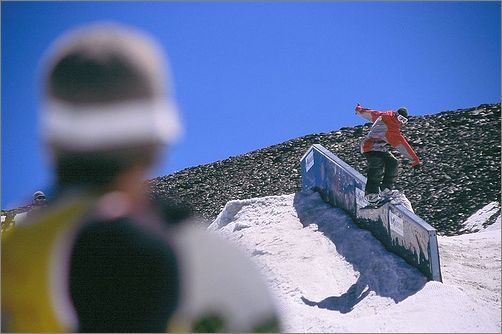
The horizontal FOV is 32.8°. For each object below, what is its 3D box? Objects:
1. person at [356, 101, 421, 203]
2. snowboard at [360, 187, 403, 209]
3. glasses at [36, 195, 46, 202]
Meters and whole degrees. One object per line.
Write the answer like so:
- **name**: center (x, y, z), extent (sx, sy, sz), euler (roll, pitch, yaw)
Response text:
- **person**: center (2.364, -0.215, 14.869), extent (1.059, 1.720, 0.765), euler (-3, 12, 22)
- **snowboard**: center (2.250, 0.554, 14.904), extent (0.637, 0.257, 0.213), euler (-25, -10, 26)
- **glasses**: center (-2.124, 0.323, 8.641), extent (0.093, 0.033, 0.089), euler (0, 0, 0)
